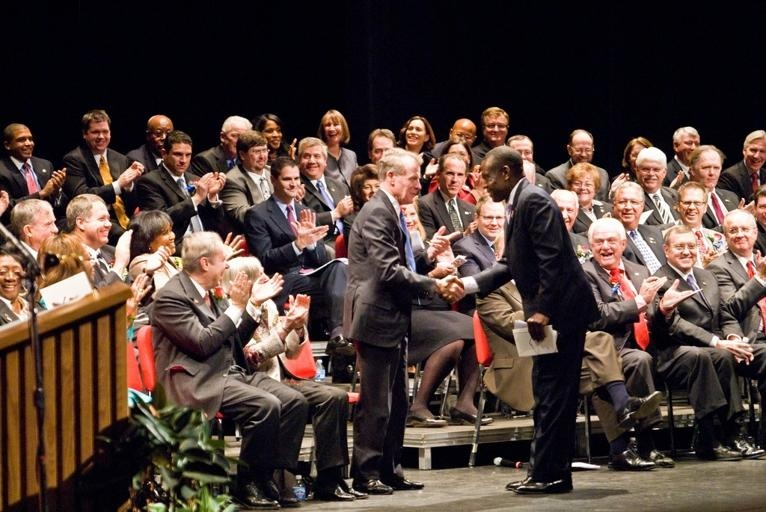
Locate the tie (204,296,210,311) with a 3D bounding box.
[{"bbox_3d":[-1.097,0.291,5.211,0.042,0.102,0.104,1,-9,-12],"label":"tie"}]

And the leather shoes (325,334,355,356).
[{"bbox_3d":[-0.353,0.706,6.666,0.135,0.120,0.317,5,-14,-26],"label":"leather shoes"}]

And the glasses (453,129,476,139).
[{"bbox_3d":[0.913,-1.319,9.039,0.182,0.050,0.178,0,4,-30],"label":"glasses"}]

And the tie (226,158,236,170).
[{"bbox_3d":[-1.527,-0.917,8.343,0.103,0.090,0.032,1,-17,-6],"label":"tie"}]

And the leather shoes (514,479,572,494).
[{"bbox_3d":[1.034,1.471,5.408,0.340,0.127,0.117,3,-8,-6],"label":"leather shoes"}]

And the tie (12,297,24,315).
[{"bbox_3d":[-2.158,0.290,4.932,0.075,0.059,0.089,1,-11,-12],"label":"tie"}]

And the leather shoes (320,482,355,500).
[{"bbox_3d":[-0.314,1.512,5.390,0.248,0.092,0.090,1,-7,11],"label":"leather shoes"}]

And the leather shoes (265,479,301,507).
[{"bbox_3d":[-0.611,1.494,5.248,0.105,0.114,0.312,3,-7,32],"label":"leather shoes"}]

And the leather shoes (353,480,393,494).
[{"bbox_3d":[-0.070,1.505,5.435,0.211,0.076,0.100,-2,-5,10],"label":"leather shoes"}]

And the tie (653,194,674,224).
[{"bbox_3d":[2.716,-0.446,8.120,0.069,0.311,0.119,-36,-45,20],"label":"tie"}]

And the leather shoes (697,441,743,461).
[{"bbox_3d":[2.558,1.490,6.361,0.325,0.114,0.112,-2,-6,12],"label":"leather shoes"}]

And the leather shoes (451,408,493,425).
[{"bbox_3d":[0.690,1.249,6.528,0.351,0.134,0.120,0,-5,1],"label":"leather shoes"}]

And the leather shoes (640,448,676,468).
[{"bbox_3d":[2.018,1.495,6.214,0.273,0.100,0.116,2,4,35],"label":"leather shoes"}]

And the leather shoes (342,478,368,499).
[{"bbox_3d":[-0.213,1.510,5.443,0.230,0.091,0.078,-2,-2,33],"label":"leather shoes"}]

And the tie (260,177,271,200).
[{"bbox_3d":[-1.093,-0.625,7.783,0.174,0.156,0.213,0,-11,-8],"label":"tie"}]

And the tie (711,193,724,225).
[{"bbox_3d":[3.391,-0.486,8.459,0.071,0.453,0.070,9,-8,-37],"label":"tie"}]

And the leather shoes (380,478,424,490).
[{"bbox_3d":[0.129,1.518,5.620,0.291,0.103,0.092,-1,-3,-5],"label":"leather shoes"}]

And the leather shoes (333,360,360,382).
[{"bbox_3d":[-0.320,0.972,6.952,0.263,0.228,0.247,-1,4,2],"label":"leather shoes"}]

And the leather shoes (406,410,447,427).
[{"bbox_3d":[0.324,1.237,6.354,0.329,0.087,0.110,-2,-9,12],"label":"leather shoes"}]
